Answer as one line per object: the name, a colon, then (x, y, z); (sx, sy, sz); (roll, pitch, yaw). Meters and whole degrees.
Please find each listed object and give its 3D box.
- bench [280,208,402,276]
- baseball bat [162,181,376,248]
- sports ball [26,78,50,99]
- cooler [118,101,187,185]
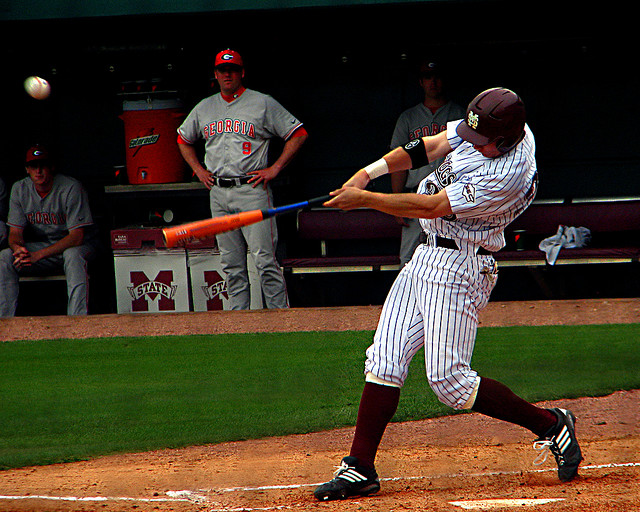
bench: (0.201, -0.108, 6.061); (0.807, 0.336, 0.432); (-3, 24, 10)
baseball bat: (-0.199, -0.170, 3.600); (0.887, 0.077, 0.085); (-14, -10, 6)
sports ball: (-1.958, -1.181, 6.224); (0.141, 0.131, 0.170); (-1, 4, 5)
cooler: (-1.053, -0.777, 6.137); (0.634, 0.606, 0.529); (-1, -1, 15)
